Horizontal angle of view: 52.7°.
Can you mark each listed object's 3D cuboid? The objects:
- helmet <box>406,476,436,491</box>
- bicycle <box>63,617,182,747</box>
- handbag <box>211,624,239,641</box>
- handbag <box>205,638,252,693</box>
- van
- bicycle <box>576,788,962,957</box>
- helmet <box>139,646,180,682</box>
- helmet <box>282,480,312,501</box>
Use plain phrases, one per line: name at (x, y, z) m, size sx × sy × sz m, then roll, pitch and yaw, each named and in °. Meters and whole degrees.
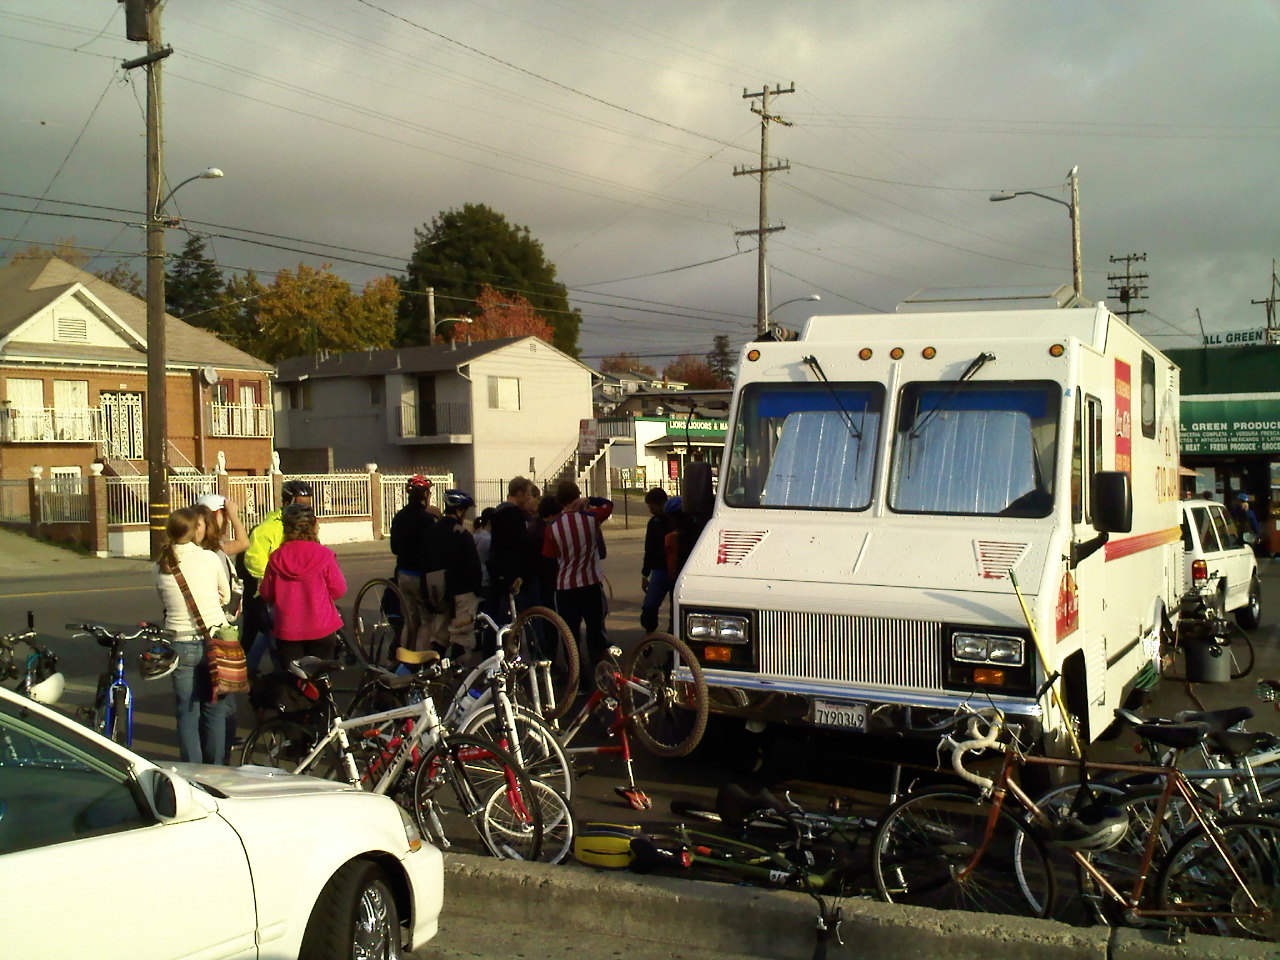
helmet at (-2.210, 0.020, 12.940) m, size 0.212 × 0.078 × 0.230 m, roll 0°, pitch -2°, yaw 5°
bicycle at (-4.191, 1.644, 10.435) m, size 1.073 × 1.138 × 1.729 m, roll 2°, pitch -3°, yaw -25°
handbag at (-2.852, 1.032, 8.824) m, size 0.087 × 0.112 × 0.109 m, roll 5°, pitch 0°, yaw -44°
handbag at (-2.811, 1.255, 8.768) m, size 0.279 × 0.376 × 0.146 m, roll 7°, pitch -18°, yaw -39°
van at (2.590, 0.349, 10.470) m, size 2.348 × 2.449 × 4.559 m, roll -2°, pitch -5°, yaw 28°
bicycle at (0.547, 1.992, 7.206) m, size 1.529 × 0.817 × 0.993 m, roll 0°, pitch 24°, yaw 23°
helmet at (-3.344, 1.239, 8.884) m, size 0.247 × 0.209 × 0.356 m, roll -2°, pitch 2°, yaw -39°
helmet at (-2.732, 0.083, 10.154) m, size 0.211 × 0.206 × 0.169 m, roll -9°, pitch -4°, yaw 19°
